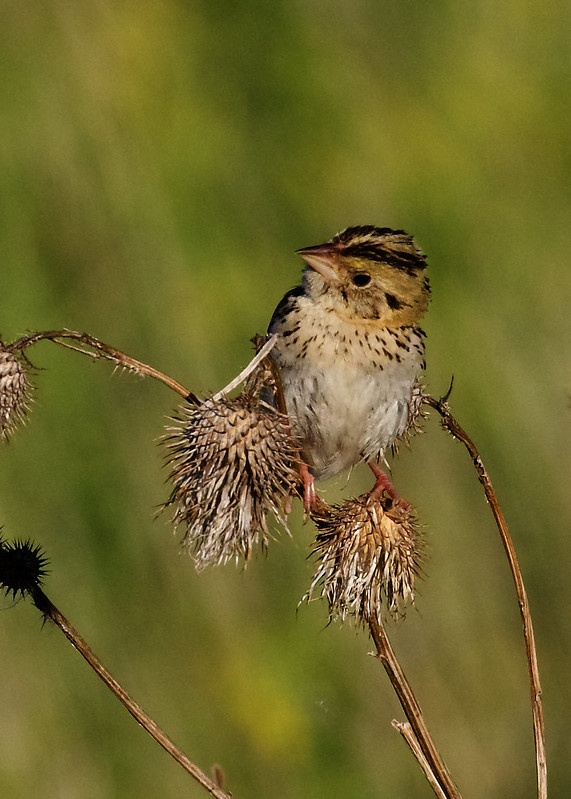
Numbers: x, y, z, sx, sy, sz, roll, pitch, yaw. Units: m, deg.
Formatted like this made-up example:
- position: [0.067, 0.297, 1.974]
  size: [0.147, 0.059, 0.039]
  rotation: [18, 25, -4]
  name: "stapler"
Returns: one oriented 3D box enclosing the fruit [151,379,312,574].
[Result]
- position: [-0.165, 0.254, 3.308]
  size: [0.408, 0.369, 0.500]
  rotation: [-3, -66, 5]
  name: "fruit"
